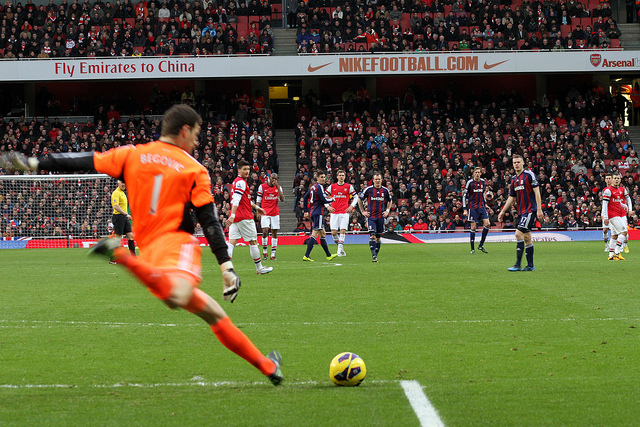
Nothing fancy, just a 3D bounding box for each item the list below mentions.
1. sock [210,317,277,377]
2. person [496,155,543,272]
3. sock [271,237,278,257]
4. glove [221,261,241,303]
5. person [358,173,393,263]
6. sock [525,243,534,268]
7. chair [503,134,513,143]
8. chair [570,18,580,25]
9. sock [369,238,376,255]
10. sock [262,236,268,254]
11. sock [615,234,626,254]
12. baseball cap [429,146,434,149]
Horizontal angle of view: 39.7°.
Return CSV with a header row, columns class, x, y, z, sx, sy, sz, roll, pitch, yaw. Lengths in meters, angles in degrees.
class,x,y,z,sx,sy,sz,roll,pitch,yaw
sock,-1.620,2.882,18.400,1.279,0.331,0.417,38,-38,-29
person,5.756,0.032,25.184,0.880,3.384,1.168,-2,13,-4
sock,-1.509,1.113,28.785,0.159,0.630,0.427,-2,13,-2
glove,-1.768,1.428,17.521,0.337,0.930,0.633,-3,13,-6
person,1.770,0.002,27.862,0.893,2.314,1.191,0,13,5
sock,5.940,1.245,25.198,0.227,0.696,0.246,2,14,13
chair,8.467,-3.432,40.055,0.317,0.462,0.366,0,-5,5
chair,12.616,-9.601,43.648,0.362,0.511,0.421,1,8,5
sock,1.658,1.054,27.570,0.165,0.484,0.289,-1,13,1
sock,-1.751,1.101,28.275,0.077,0.551,0.269,-5,14,-17
sock,9.334,0.993,27.597,0.159,0.564,0.418,10,17,39
baseball cap,4.858,-2.903,38.637,0.104,0.102,0.456,4,15,21
